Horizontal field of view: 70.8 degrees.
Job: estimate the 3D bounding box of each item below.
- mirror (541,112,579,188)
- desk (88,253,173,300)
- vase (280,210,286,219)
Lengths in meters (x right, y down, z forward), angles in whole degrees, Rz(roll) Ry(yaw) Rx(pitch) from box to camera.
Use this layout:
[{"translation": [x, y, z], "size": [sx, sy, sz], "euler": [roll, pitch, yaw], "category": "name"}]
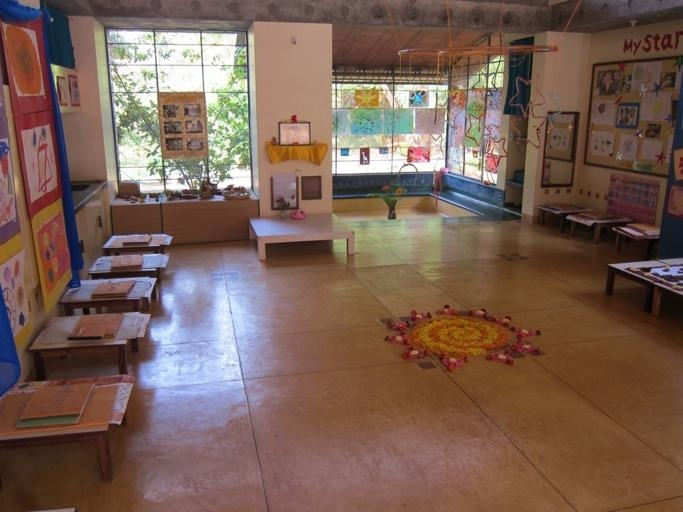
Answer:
[{"translation": [4.520, -2.189, 9.949], "size": [0.705, 1.552, 0.116], "euler": [-4, 17, -6], "category": "mirror"}, {"translation": [-2.931, 0.130, 6.603], "size": [0.754, 0.335, 0.743], "euler": [-2, 13, -13], "category": "desk"}, {"translation": [-1.120, -0.787, 9.158], "size": [0.174, 0.169, 0.122], "euler": [-1, 11, -8], "category": "vase"}]
